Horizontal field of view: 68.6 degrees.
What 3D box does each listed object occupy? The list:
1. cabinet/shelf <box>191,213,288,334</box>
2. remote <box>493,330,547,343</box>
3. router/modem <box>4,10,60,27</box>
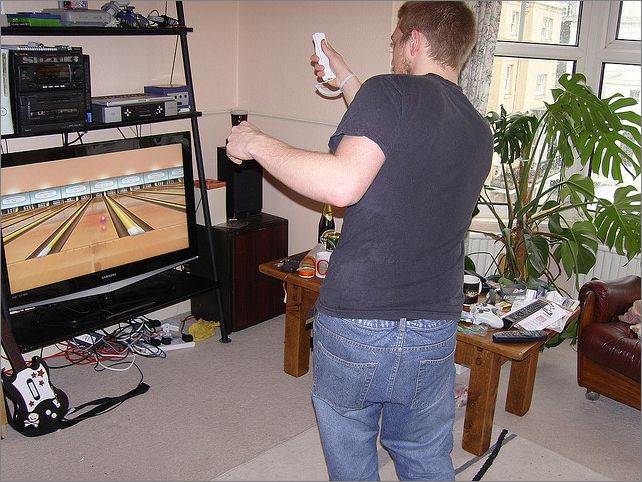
[{"bbox_3d":[-0.628,0.234,3.515,0.472,0.894,0.620,16,26,39],"label":"cabinet/shelf"},{"bbox_3d":[0.989,0.483,2.367,0.213,0.034,0.101,-4,10,3],"label":"remote"},{"bbox_3d":[-1.464,-1.148,2.426,0.247,0.077,0.125,-11,23,-31],"label":"router/modem"}]
